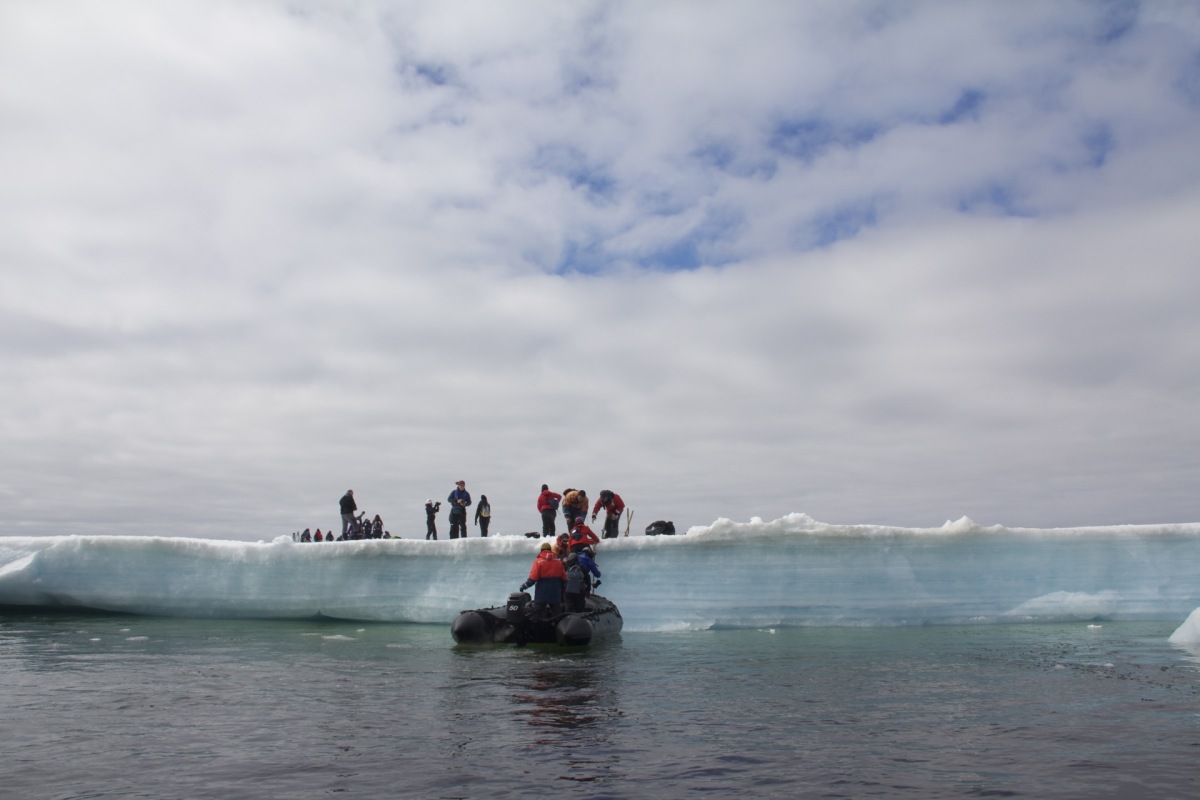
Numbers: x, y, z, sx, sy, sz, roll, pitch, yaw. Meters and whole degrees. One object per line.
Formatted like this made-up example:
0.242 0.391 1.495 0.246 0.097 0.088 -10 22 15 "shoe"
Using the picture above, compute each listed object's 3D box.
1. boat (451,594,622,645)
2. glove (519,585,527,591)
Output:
-1.573 5.268 21.817 2.702 0.691 1.839 1 -11 5 "boat"
-1.804 4.377 21.801 0.148 0.178 0.372 1 -2 -12 "glove"
